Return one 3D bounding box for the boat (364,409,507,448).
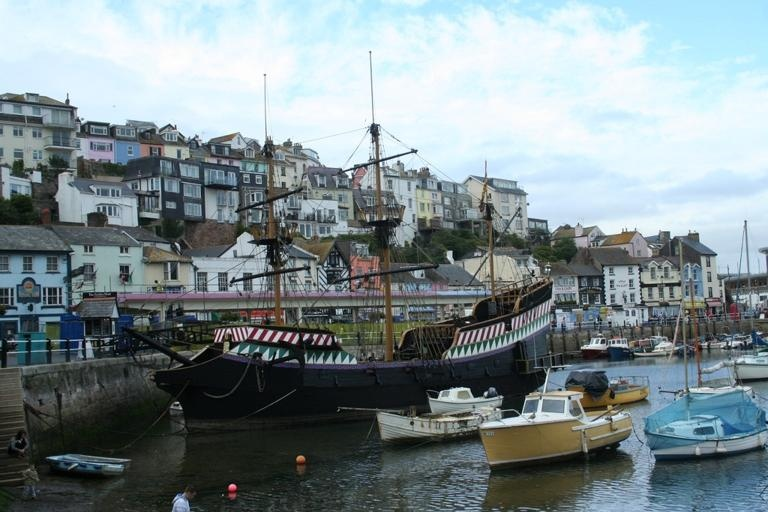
[{"bbox_3d":[3.747,10.169,63.496,9.323,1.978,2.775,1,-4,-36],"label":"boat"}]

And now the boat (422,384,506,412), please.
[{"bbox_3d":[5.227,8.963,65.289,5.080,1.472,1.750,2,-11,-25],"label":"boat"}]
